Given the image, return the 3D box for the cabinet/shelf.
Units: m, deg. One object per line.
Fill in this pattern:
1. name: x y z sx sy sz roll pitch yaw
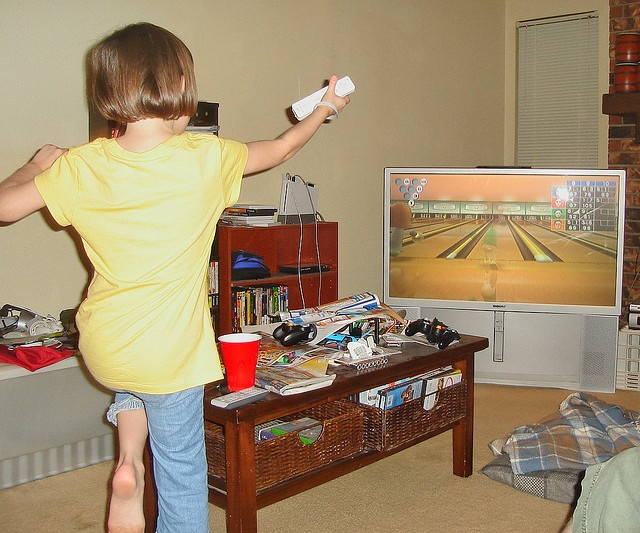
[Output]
1. cabinet/shelf: -0.317 0.067 2.975 0.864 0.686 0.274 -4 4 -43

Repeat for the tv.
1. tv: 1.262 -0.190 3.467 1.596 1.025 0.065 0 5 7

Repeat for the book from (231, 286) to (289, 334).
1. book: -0.374 0.251 2.931 0.119 0.264 0.343 -2 -1 42

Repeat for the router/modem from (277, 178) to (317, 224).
1. router/modem: -0.163 -0.451 3.460 0.131 0.343 0.384 1 5 42
